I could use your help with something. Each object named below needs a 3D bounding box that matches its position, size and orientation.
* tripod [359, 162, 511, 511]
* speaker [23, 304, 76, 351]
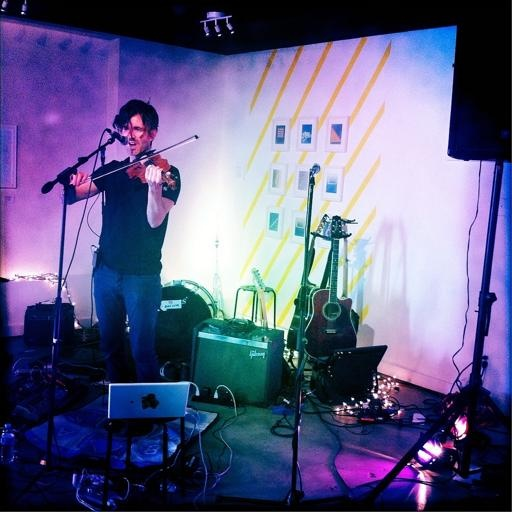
[{"bbox_3d":[1.034,0.357,2.742,0.340,1.710,1.063,13,15,42],"label":"tripod"},{"bbox_3d":[-1.730,0.545,4.520,0.416,0.493,0.442,0,-3,-8],"label":"speaker"}]
